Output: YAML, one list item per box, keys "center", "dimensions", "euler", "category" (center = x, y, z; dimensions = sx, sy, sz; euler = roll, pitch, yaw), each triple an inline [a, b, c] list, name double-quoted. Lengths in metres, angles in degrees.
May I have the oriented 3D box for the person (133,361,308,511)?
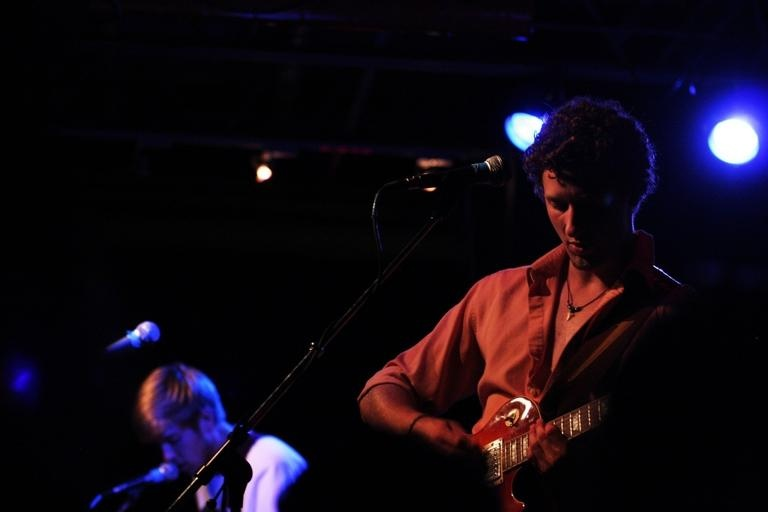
- center: [-1.141, 1.345, 5.516]
  dimensions: [0.867, 1.004, 1.034]
  euler: [-24, -17, -33]
  category: "person"

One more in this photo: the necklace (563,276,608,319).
- center: [1.119, 0.234, 4.326]
  dimensions: [0.049, 0.205, 0.203]
  euler: [10, 15, -37]
  category: "necklace"
